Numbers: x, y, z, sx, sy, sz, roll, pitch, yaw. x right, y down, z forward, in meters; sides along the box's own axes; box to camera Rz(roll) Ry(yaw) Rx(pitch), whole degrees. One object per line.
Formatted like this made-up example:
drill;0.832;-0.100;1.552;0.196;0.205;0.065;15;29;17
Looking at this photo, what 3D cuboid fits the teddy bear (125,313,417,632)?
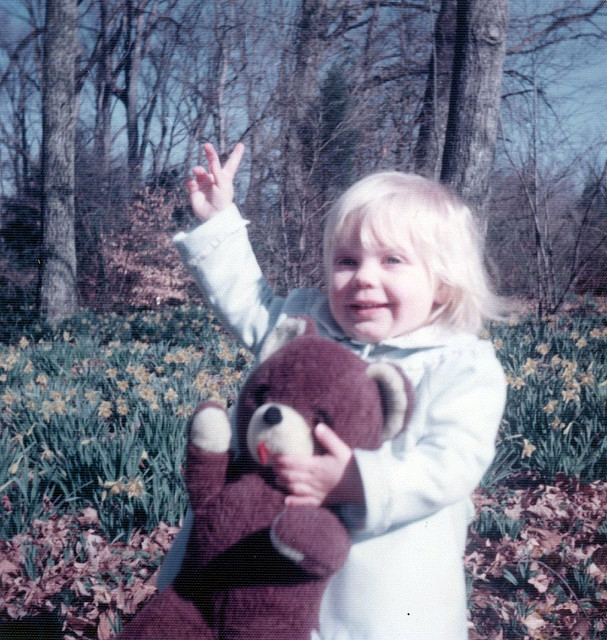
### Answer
teddy bear;-0.078;0.448;1.983;0.746;0.782;0.290;1;9;12
